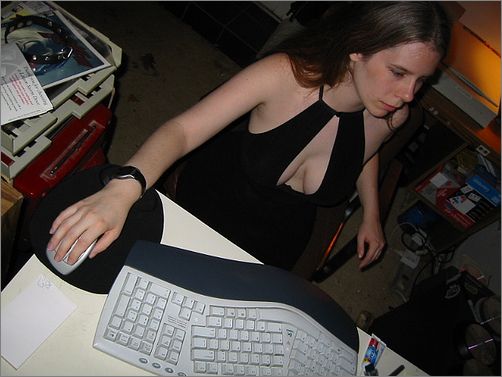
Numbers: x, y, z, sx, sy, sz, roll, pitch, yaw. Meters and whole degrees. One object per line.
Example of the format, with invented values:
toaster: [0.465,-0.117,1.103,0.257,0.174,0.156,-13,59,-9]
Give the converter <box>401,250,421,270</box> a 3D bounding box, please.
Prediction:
converter: [0.897,0.394,2.222,0.084,0.024,0.093,32,59,6]

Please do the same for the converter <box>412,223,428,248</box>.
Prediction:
converter: [0.993,0.279,2.352,0.088,0.093,0.109,53,1,2]

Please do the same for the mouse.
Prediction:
mouse: [-0.472,0.169,1.029,0.079,0.113,0.030,42,0,-4]

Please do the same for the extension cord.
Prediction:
extension cord: [0.872,0.453,2.194,0.123,0.368,0.140,26,-11,15]

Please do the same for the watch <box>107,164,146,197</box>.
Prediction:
watch: [-0.335,-0.035,1.094,0.091,0.091,0.075,35,37,-1]
